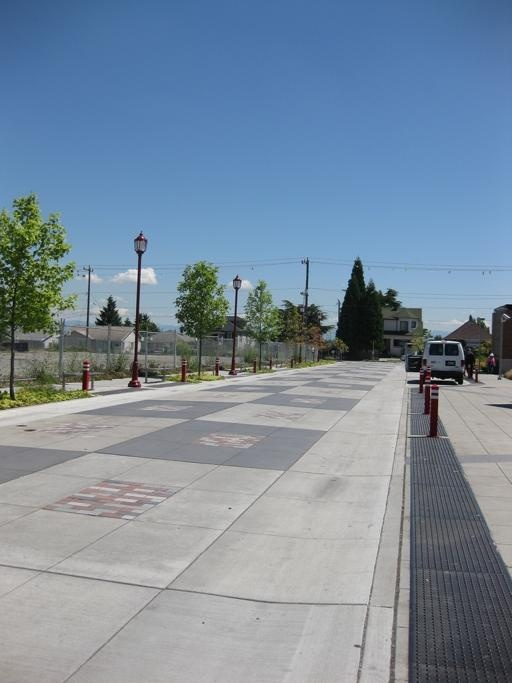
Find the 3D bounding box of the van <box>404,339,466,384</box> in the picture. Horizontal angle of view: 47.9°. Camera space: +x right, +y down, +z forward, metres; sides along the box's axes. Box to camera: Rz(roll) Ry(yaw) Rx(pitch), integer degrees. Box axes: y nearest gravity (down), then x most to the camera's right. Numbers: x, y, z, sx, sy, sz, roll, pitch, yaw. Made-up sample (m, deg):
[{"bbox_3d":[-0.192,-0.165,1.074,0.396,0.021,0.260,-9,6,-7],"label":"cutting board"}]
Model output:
[{"bbox_3d":[9.817,0.914,30.726,4.052,2.181,4.532,1,6,7],"label":"van"}]
